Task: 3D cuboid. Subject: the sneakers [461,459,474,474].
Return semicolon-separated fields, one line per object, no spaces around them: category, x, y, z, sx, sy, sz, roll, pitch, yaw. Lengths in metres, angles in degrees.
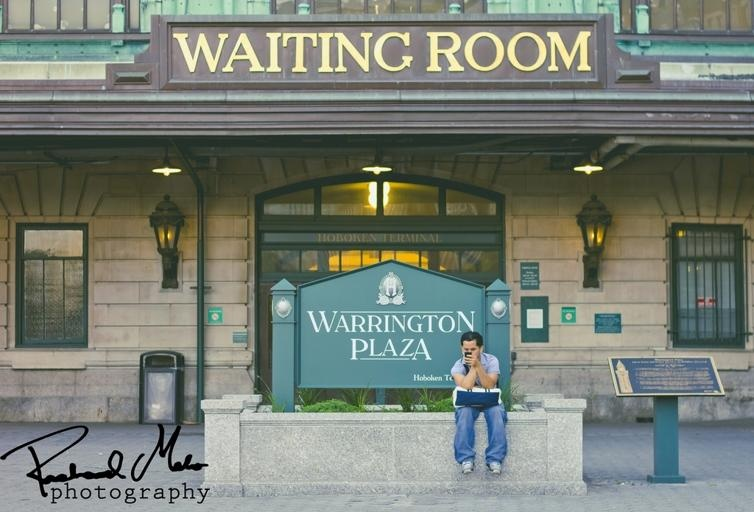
sneakers;1.512;3.577;29.701;0.213;0.225;0.188;-3;-8;8

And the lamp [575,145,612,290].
lamp;4.250;-0.313;34.631;0.678;1.896;0.454;-3;-8;6

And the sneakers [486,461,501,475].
sneakers;1.949;3.589;29.686;0.247;0.226;0.253;-2;-7;4

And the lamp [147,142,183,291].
lamp;-4.098;-0.296;34.458;0.663;1.859;0.508;-2;-8;-4

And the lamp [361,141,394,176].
lamp;0.025;-1.854;33.633;0.599;0.531;0.564;2;2;-7

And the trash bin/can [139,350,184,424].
trash bin/can;-4.209;2.580;34.304;0.828;1.443;0.343;-1;-8;-11
